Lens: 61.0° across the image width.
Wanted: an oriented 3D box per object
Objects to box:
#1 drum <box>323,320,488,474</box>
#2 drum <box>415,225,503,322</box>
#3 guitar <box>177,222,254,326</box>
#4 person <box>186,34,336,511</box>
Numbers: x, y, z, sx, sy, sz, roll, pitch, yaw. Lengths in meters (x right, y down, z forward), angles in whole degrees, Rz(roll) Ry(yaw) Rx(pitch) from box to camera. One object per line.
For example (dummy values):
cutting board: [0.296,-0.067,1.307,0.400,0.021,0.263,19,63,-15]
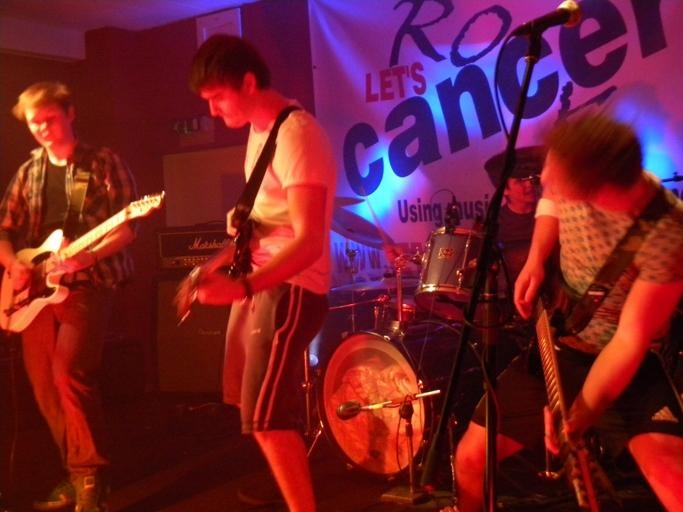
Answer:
drum: [0.224,1.047,3.697,0.751,0.812,0.609,3,-37,-5]
drum: [0.689,0.073,3.554,0.343,0.396,0.362,17,-14,-21]
guitar: [-0.462,0.047,2.384,0.134,0.442,0.285,29,-29,-35]
person: [-0.361,0.029,2.380,0.646,1.774,0.763,2,15,-1]
